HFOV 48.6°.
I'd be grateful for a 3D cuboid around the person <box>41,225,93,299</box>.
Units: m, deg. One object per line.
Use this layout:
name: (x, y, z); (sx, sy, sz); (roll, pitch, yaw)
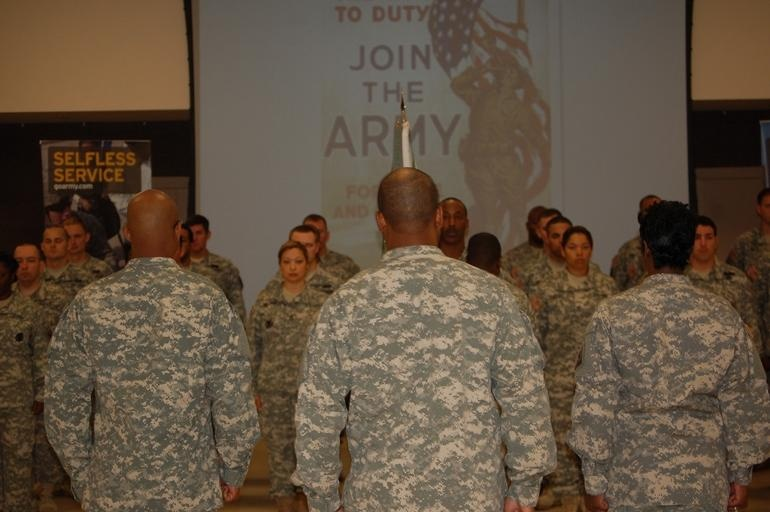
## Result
person: (-3.287, 0.076, 8.556); (0.709, 0.754, 0.366); (1, -1, -8)
